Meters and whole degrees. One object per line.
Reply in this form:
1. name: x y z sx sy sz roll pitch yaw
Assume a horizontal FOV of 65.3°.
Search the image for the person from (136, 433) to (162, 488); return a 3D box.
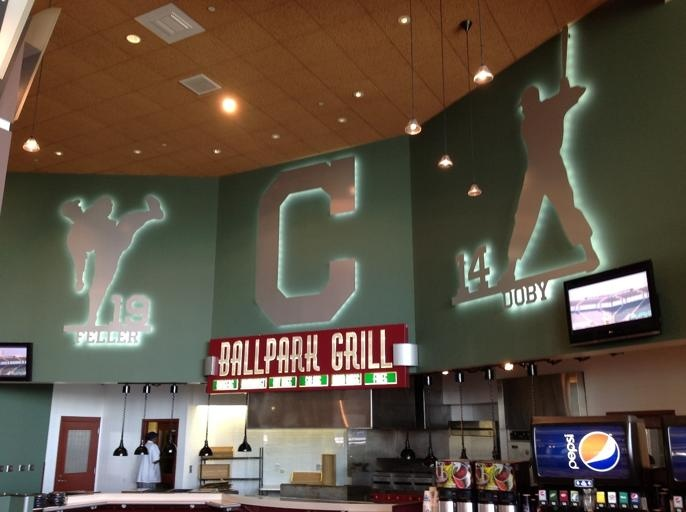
1. person: -4.132 4.403 11.559 0.484 1.136 0.357 5 -18 -20
